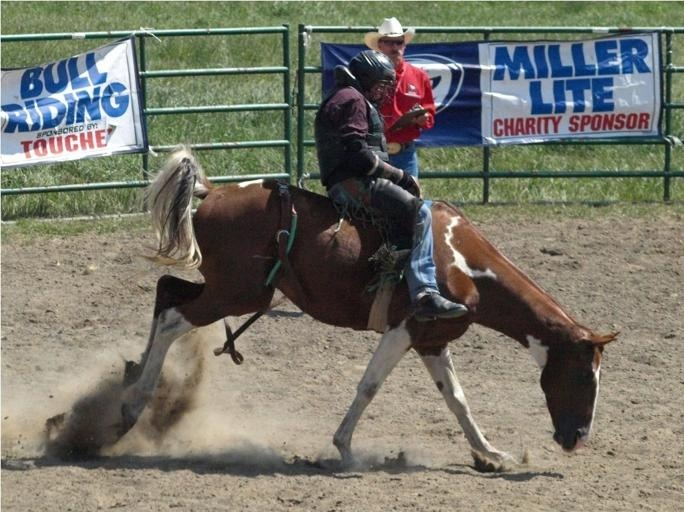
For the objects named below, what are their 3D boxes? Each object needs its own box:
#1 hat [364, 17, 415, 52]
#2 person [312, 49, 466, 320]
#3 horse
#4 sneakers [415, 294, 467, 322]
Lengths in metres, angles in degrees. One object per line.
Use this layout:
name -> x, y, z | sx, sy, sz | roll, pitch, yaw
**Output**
hat -> 0.544, -2.575, 16.124 | 0.436, 0.212, 0.517 | -13, 7, 36
person -> 0.432, -0.684, 14.044 | 1.393, 2.619, 0.529 | 5, 15, 30
horse -> 0.192, 0.691, 14.937 | 5.429, 3.533, 1.504 | 15, 12, 1
sneakers -> 0.974, 0.501, 13.848 | 0.516, 0.262, 0.233 | -5, 8, 16
